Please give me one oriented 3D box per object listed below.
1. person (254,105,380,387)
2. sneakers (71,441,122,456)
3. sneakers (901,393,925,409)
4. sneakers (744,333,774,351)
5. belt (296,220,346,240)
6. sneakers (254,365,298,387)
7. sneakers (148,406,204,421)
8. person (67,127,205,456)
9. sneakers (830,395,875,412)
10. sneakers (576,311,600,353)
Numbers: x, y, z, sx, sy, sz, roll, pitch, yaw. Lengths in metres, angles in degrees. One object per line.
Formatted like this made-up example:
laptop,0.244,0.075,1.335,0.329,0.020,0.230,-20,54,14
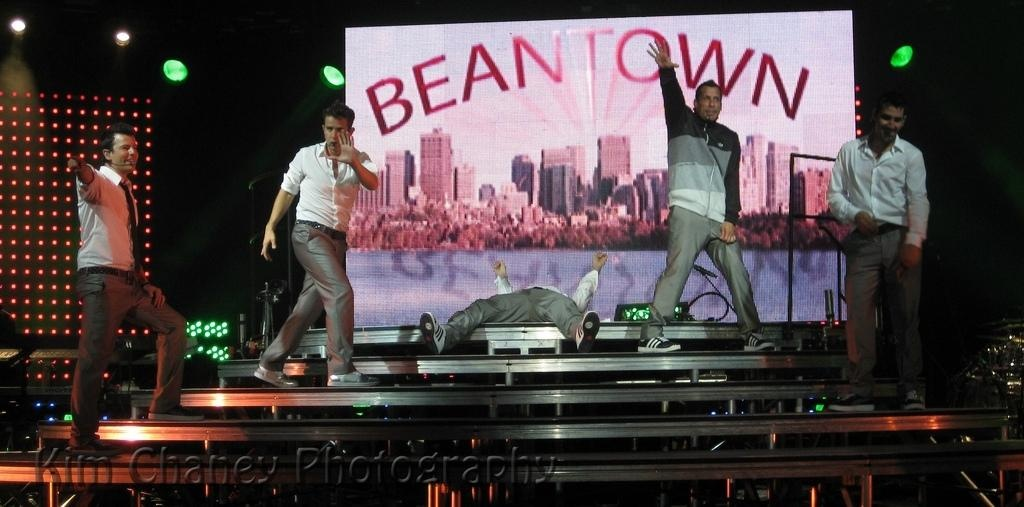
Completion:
person,-2.587,-0.086,16.130,1.432,3.597,0.850,-10,-16,35
sneakers,-5.327,2.381,15.491,0.676,0.221,0.223,2,-4,-8
sneakers,5.057,1.816,15.609,0.265,0.214,0.100,-1,-13,1
sneakers,3.203,1.161,16.231,0.398,0.197,0.196,-2,-3,16
belt,-2.578,-0.306,16.046,0.384,0.081,0.336,16,-4,21
sneakers,-3.196,1.595,16.120,0.581,0.180,0.248,17,0,-12
sneakers,-4.425,2.024,15.735,0.738,0.200,0.244,1,-6,-8
person,-5.061,0.438,15.592,1.525,3.903,1.003,5,-14,-24
sneakers,4.290,1.877,15.640,0.439,0.131,0.234,-1,-1,-13
sneakers,0.942,1.002,16.291,0.249,0.580,0.262,9,25,-15
